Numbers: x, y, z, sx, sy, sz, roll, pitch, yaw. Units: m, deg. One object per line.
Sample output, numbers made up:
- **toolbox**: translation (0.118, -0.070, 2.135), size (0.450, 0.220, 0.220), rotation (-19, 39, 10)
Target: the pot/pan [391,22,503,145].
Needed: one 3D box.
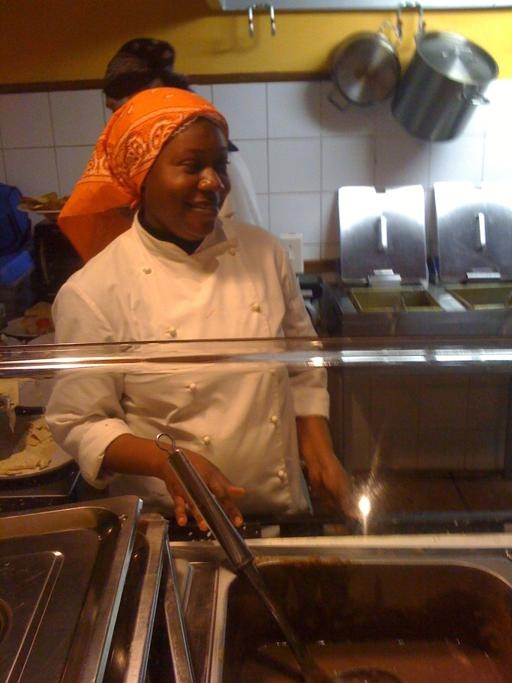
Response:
- **pot/pan**: translation (0.910, -1.233, 2.673), size (0.416, 0.575, 0.425), rotation (0, -16, -12)

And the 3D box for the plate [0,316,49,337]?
- **plate**: translation (-0.882, -0.052, 2.163), size (0.147, 0.031, 0.149), rotation (6, 29, 9)

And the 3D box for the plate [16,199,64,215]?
- **plate**: translation (-0.962, -0.579, 2.479), size (0.151, 0.051, 0.141), rotation (0, -1, -32)

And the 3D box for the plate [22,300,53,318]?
- **plate**: translation (-0.870, -0.125, 2.263), size (0.087, 0.035, 0.096), rotation (-1, 10, -13)

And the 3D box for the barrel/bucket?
- **barrel/bucket**: translation (0.872, -1.189, 2.604), size (0.383, 0.478, 0.421), rotation (-5, 15, 1)
